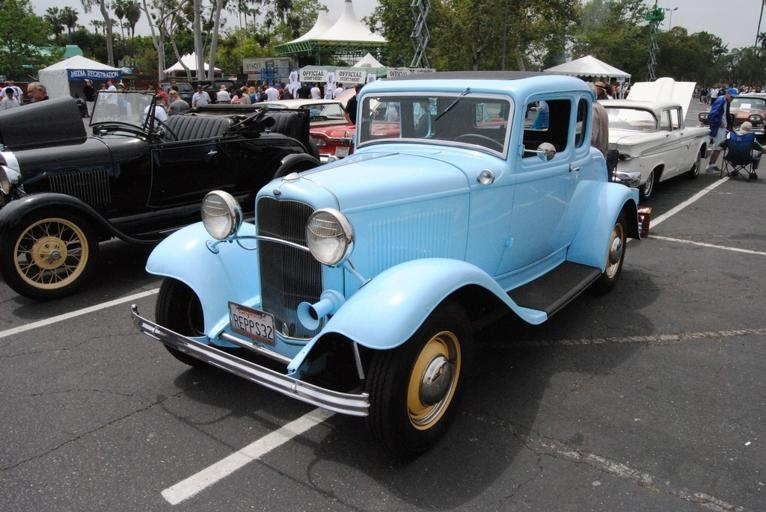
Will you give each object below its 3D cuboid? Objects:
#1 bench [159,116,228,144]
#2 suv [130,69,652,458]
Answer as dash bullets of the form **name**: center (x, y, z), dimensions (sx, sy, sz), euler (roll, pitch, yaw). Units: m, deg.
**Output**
- **bench**: center (-3.032, -2.130, 8.296), dimensions (1.231, 0.627, 0.414), euler (4, 3, 18)
- **suv**: center (0.238, -0.285, 4.898), dimensions (4.655, 2.779, 2.425), euler (-17, 27, -38)
